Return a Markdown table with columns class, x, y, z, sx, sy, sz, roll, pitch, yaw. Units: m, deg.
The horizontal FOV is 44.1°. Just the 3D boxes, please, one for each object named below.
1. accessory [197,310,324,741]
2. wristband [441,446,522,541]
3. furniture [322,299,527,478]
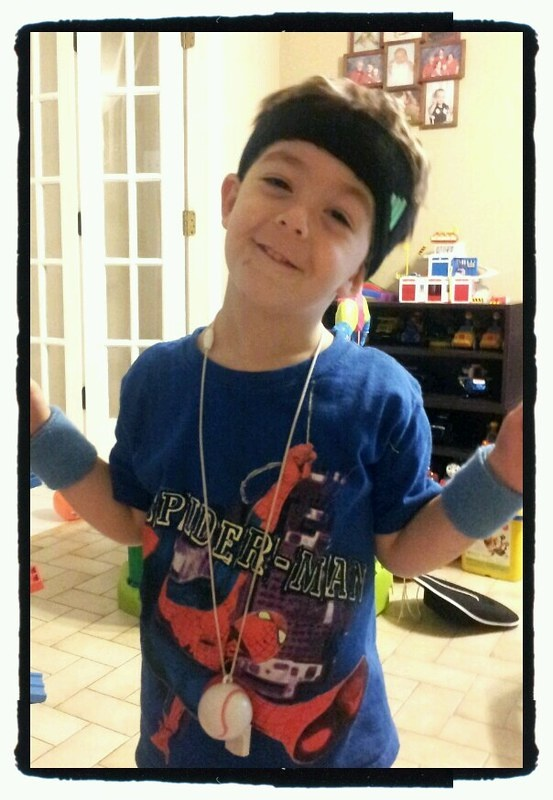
| class | x | y | z | sx | sy | sz | roll | pitch | yaw |
| --- | --- | --- | --- | --- | --- | --- | --- | --- | --- |
| accessory | -0.033 | 0.139 | 0.681 | 0.128 | 0.420 | 0.134 | 5 | 8 | 2 |
| wristband | 0.186 | 0.087 | 0.668 | 0.071 | 0.077 | 0.077 | -12 | 24 | -39 |
| furniture | 0.159 | -0.018 | 0.741 | 0.220 | 0.211 | 0.079 | 3 | 5 | 29 |
